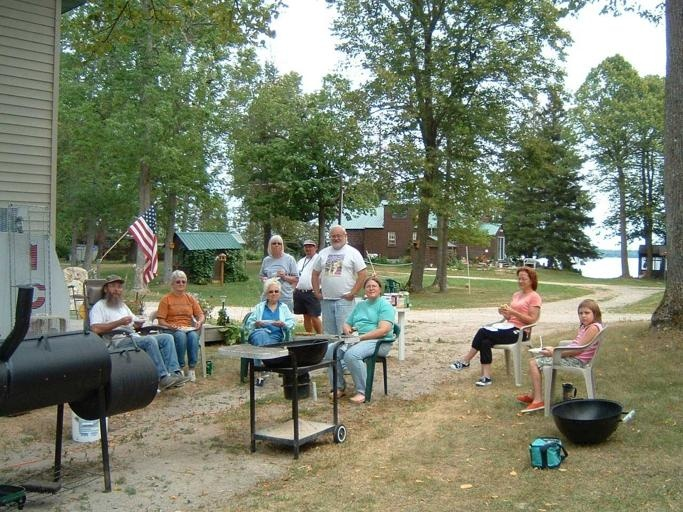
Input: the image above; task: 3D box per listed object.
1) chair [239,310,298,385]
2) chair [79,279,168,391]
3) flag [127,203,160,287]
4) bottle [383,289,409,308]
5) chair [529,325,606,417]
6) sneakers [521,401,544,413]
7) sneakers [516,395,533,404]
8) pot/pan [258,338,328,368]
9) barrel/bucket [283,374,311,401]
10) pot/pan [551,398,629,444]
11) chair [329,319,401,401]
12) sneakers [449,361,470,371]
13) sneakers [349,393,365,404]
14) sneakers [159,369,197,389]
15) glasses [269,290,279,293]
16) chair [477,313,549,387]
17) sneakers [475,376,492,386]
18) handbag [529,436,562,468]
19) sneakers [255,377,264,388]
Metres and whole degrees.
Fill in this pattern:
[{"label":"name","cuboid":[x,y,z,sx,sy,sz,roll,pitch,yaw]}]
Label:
[{"label":"chair","cuboid":[-1.114,1.382,10.992,0.966,1.127,0.745,3,10,-6]},{"label":"chair","cuboid":[-2.789,1.059,9.405,1.025,1.562,0.876,4,8,34]},{"label":"flag","cuboid":[-4.686,-0.224,17.341,0.751,2.279,0.244,3,31,-6]},{"label":"bottle","cuboid":[1.117,0.872,14.476,0.791,0.414,0.415,-1,1,15]},{"label":"chair","cuboid":[2.777,1.420,9.342,1.090,1.306,1.022,0,-2,14]},{"label":"sneakers","cuboid":[2.408,1.900,9.095,0.313,0.099,0.115,-2,-7,-11]},{"label":"sneakers","cuboid":[2.379,1.853,9.355,0.165,0.060,0.085,0,-1,42]},{"label":"pot/pan","cuboid":[-0.521,1.111,8.335,0.526,0.280,0.661,5,8,41]},{"label":"barrel/bucket","cuboid":[-0.513,1.511,8.401,0.373,0.280,0.346,-1,-7,0]},{"label":"pot/pan","cuboid":[2.753,1.865,8.102,0.774,0.438,0.441,0,6,6]},{"label":"chair","cuboid":[0.446,1.504,9.841,0.445,0.800,0.888,2,7,20]},{"label":"sneakers","cuboid":[1.800,1.589,10.543,0.421,0.146,0.157,8,-7,-26]},{"label":"sneakers","cuboid":[0.213,1.877,9.575,0.195,0.111,0.150,1,6,8]},{"label":"sneakers","cuboid":[-2.271,1.663,9.686,0.547,0.199,0.186,-19,-17,42]},{"label":"glasses","cuboid":[-0.937,0.494,10.118,0.132,0.065,0.033,-1,7,-10]},{"label":"chair","cuboid":[2.551,1.307,10.393,0.691,0.746,0.611,-18,-1,5]},{"label":"sneakers","cuboid":[2.007,1.770,10.214,0.099,0.103,0.271,-7,-11,43]},{"label":"handbag","cuboid":[2.190,2.085,7.699,0.332,0.202,0.295,-2,2,4]},{"label":"sneakers","cuboid":[-1.178,1.822,10.429,0.134,0.154,0.093,1,6,-21]}]
